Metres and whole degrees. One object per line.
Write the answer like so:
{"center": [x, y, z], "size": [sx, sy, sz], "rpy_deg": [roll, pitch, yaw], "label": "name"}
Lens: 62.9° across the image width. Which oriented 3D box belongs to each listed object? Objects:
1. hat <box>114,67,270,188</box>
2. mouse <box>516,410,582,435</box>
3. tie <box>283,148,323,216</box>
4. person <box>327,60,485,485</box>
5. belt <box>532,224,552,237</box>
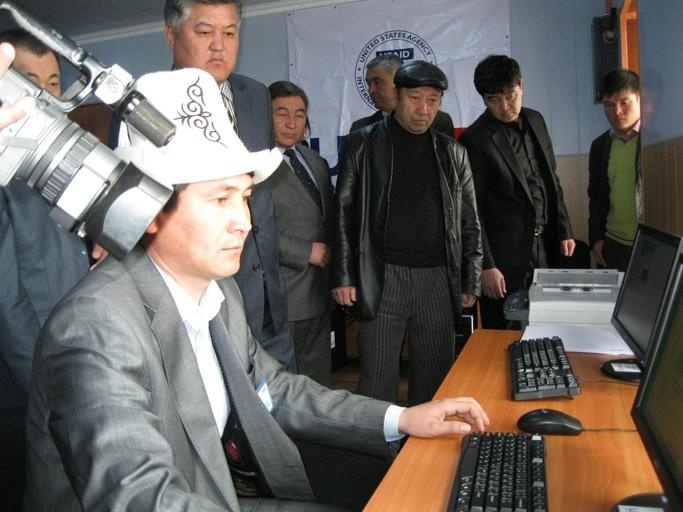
{"center": [-0.340, -0.271, 1.301], "size": [0.325, 0.191, 0.251], "rpy_deg": [-1, 2, 12], "label": "hat"}
{"center": [0.563, 0.454, 1.513], "size": [0.128, 0.047, 0.079], "rpy_deg": [-2, 7, 5], "label": "mouse"}
{"center": [-0.221, -0.397, 3.084], "size": [0.076, 0.460, 0.053], "rpy_deg": [-17, 29, 42], "label": "tie"}
{"center": [0.367, 0.037, 3.101], "size": [0.724, 2.280, 0.560], "rpy_deg": [0, 25, 6], "label": "person"}
{"center": [1.199, -0.160, 3.358], "size": [0.091, 0.038, 0.067], "rpy_deg": [-5, 17, -26], "label": "belt"}
